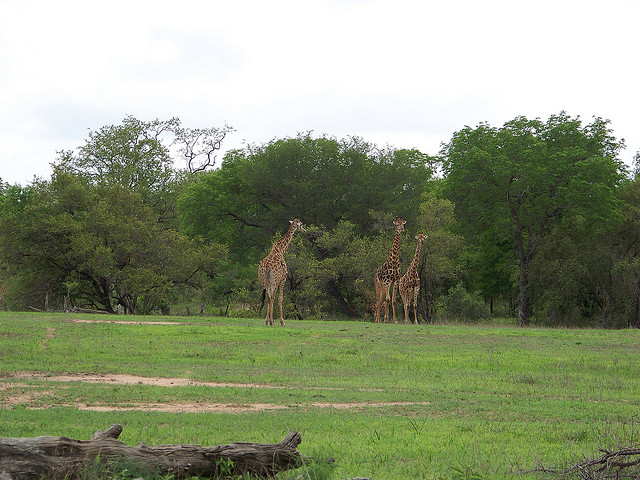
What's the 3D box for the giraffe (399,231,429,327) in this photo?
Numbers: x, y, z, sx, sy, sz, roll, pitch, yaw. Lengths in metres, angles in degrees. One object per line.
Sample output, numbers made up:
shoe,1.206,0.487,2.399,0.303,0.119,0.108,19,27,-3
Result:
giraffe,5.241,2.192,45.342,1.362,6.249,1.415,0,2,-6
